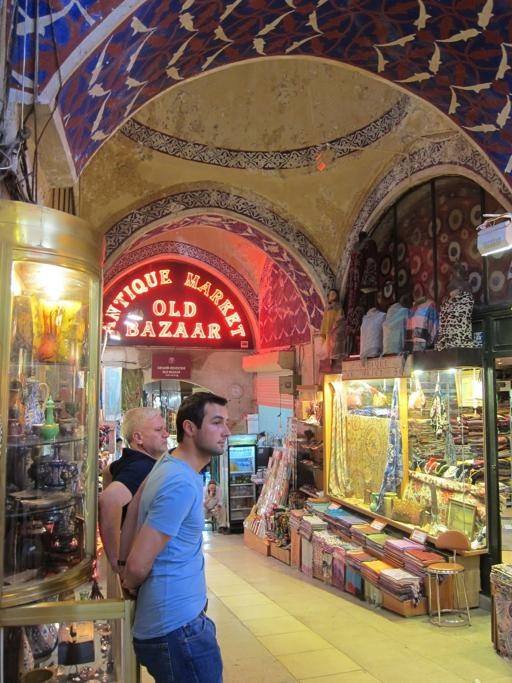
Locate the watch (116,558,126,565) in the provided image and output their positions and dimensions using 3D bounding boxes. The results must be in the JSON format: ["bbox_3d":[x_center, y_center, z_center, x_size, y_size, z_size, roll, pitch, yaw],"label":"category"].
[{"bbox_3d":[-0.491,0.801,1.913,0.029,0.011,0.020,1,-8,-3],"label":"watch"}]

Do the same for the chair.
[{"bbox_3d":[1.711,2.116,4.692,0.332,0.777,0.340,5,-9,-28],"label":"chair"}]
